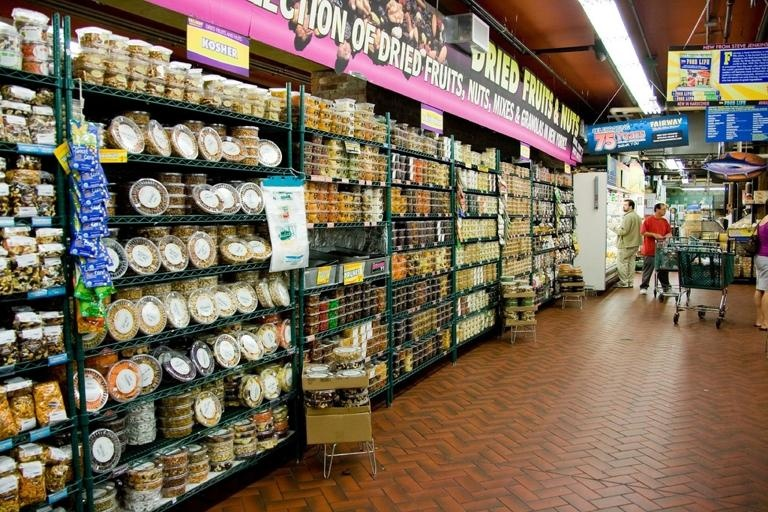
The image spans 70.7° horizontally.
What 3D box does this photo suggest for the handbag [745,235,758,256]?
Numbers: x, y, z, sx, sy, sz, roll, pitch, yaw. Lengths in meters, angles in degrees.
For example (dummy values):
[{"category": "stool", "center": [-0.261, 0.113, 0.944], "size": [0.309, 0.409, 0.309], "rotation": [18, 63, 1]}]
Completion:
[{"category": "handbag", "center": [5.988, -0.172, 8.762], "size": [0.155, 0.335, 0.227], "rotation": [6, 12, 31]}]
